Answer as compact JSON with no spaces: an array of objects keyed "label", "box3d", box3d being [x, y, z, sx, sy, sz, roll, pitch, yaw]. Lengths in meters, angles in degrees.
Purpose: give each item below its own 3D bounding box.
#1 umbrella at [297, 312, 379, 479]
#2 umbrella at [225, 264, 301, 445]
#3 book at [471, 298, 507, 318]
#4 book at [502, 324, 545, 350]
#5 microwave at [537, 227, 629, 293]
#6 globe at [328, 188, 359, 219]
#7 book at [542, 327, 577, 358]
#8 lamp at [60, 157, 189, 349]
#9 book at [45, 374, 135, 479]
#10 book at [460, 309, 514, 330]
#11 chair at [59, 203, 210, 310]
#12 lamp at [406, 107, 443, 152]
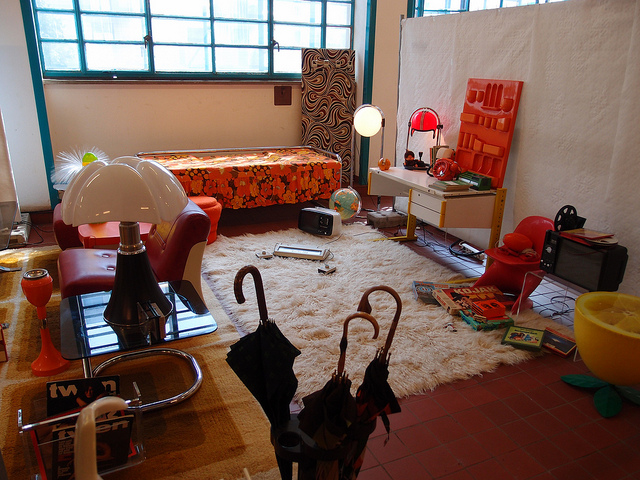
[{"label":"umbrella","box3d":[0.065,0.571,1.655,0.303,0.674,0.222,-4,19,-9]},{"label":"umbrella","box3d":[-0.219,0.463,1.739,0.286,0.740,0.238,2,19,6]},{"label":"book","box3d":[1.237,0.497,3.227,0.151,0.053,0.152,-2,23,-5]},{"label":"book","box3d":[1.396,0.669,3.035,0.221,0.057,0.234,13,24,33]},{"label":"microwave","box3d":[1.794,0.123,3.018,0.271,0.316,0.410,-9,23,-24]},{"label":"globe","box3d":[0.292,-0.435,5.307,0.325,0.385,0.327,11,10,21]},{"label":"book","box3d":[1.639,0.702,3.023,0.199,0.066,0.246,12,23,30]},{"label":"lamp","box3d":[-0.976,0.039,2.264,0.543,0.795,0.536,2,15,9]},{"label":"book","box3d":[-0.993,0.823,1.923,0.353,0.434,0.227,-10,22,-26]},{"label":"book","box3d":[1.214,0.588,3.182,0.167,0.031,0.183,-6,19,-12]},{"label":"chair","box3d":[-1.317,0.093,3.088,1.111,0.558,1.112,4,9,5]},{"label":"lamp","box3d":[1.095,-1.192,4.585,0.341,0.365,0.489,3,20,10]}]
